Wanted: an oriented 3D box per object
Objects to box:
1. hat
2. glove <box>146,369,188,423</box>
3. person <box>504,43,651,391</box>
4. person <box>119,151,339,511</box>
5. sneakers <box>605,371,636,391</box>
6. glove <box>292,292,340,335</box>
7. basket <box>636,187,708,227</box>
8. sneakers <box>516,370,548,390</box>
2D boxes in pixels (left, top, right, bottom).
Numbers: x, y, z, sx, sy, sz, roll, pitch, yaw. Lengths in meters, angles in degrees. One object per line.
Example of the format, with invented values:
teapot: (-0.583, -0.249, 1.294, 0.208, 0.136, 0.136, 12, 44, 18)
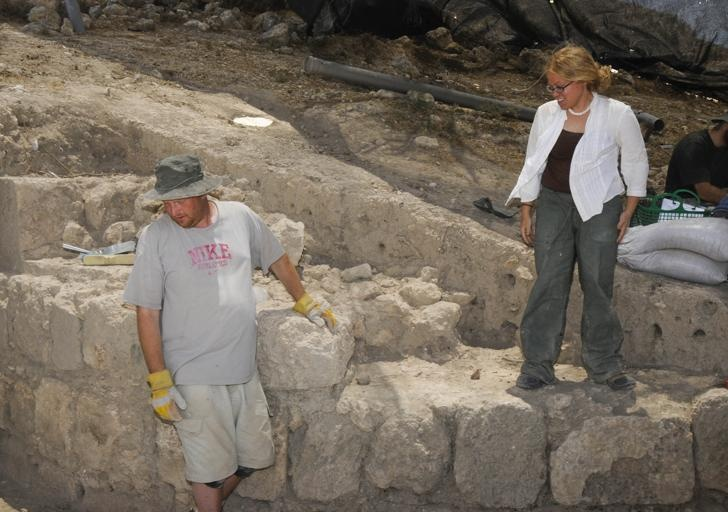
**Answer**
hat: (-1.900, -0.831, 14.636, 0.917, 0.323, 0.784, -10, 17, -7)
glove: (-1.946, 1.381, 14.429, 0.346, 0.530, 0.233, 13, 13, 31)
person: (2.161, -0.350, 15.004, 1.322, 3.553, 0.514, 7, 12, 4)
person: (-1.589, 0.876, 14.645, 1.677, 3.708, 0.920, 5, 12, -4)
sneakers: (2.624, 1.295, 15.053, 0.189, 0.092, 0.289, -3, 2, -26)
glove: (-0.516, 0.489, 15.162, 0.418, 0.147, 0.235, 0, 29, 34)
basket: (3.327, -0.531, 15.963, 0.717, 0.342, 0.399, -2, 9, -5)
sneakers: (1.715, 1.304, 15.157, 0.315, 0.100, 0.164, 0, 6, -15)
